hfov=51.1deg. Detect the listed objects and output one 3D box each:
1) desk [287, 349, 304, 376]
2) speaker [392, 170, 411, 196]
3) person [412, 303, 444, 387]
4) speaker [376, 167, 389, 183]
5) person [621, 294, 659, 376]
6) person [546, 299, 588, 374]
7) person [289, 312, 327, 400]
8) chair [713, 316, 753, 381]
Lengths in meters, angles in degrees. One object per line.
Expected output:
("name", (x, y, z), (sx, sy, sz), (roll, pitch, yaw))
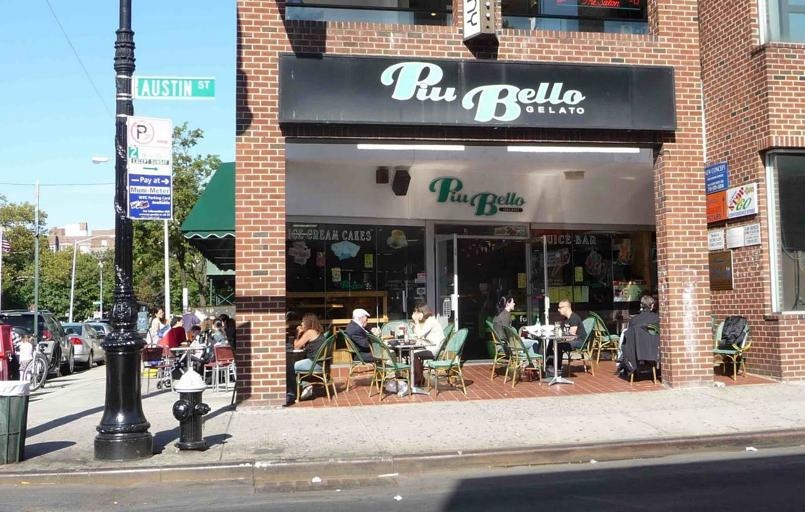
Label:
("desk", (-2.359, 2.271, 17.913), (0.524, 0.516, 0.562), (0, -1, 6))
("speaker", (-0.026, -1.947, 22.294), (0.495, 0.679, 0.465), (-1, -6, -5))
("person", (0.555, 2.003, 18.777), (0.892, 1.728, 0.734), (1, -1, -6))
("speaker", (-0.519, -2.132, 22.156), (0.416, 0.373, 0.401), (0, 3, 1))
("person", (5.356, 1.824, 18.977), (0.850, 1.873, 1.299), (-1, -1, 2))
("person", (3.835, 1.880, 19.690), (0.994, 1.604, 0.705), (-3, 4, 4))
("person", (-2.045, 2.179, 18.135), (0.761, 1.845, 1.077), (-1, -6, -3))
("chair", (7.565, 2.084, 19.221), (0.813, 1.465, 1.151), (-2, -6, 4))
